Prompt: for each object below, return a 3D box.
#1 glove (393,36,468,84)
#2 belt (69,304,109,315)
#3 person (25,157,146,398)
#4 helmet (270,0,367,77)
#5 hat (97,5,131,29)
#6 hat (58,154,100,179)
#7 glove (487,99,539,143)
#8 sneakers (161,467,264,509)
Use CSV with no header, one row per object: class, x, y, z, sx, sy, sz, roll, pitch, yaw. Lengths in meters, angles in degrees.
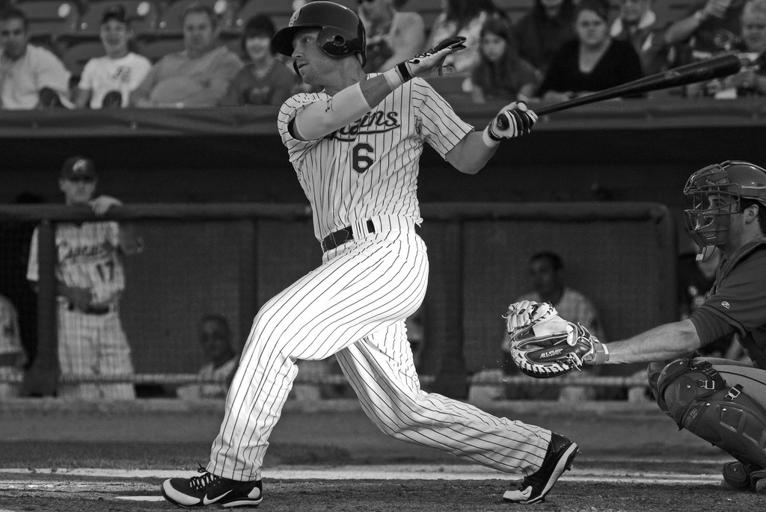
glove,0.223,-0.916,8.745,0.319,0.108,0.203,-24,20,-9
belt,-1.594,0.286,10.161,0.054,0.062,0.251,-7,-6,41
person,-1.632,0.129,10.226,0.634,1.326,0.312,-1,-5,-22
helmet,-0.328,-1.014,8.954,0.442,0.305,0.310,6,-34,-8
hat,-1.418,-1.275,9.918,0.110,0.065,0.134,6,-26,-32
hat,-1.654,-0.479,10.167,0.189,0.131,0.100,-2,-4,-10
glove,0.587,-0.632,8.836,0.233,0.114,0.174,-32,-49,13
sneakers,-0.790,1.084,8.741,0.515,0.198,0.172,7,-4,-5
